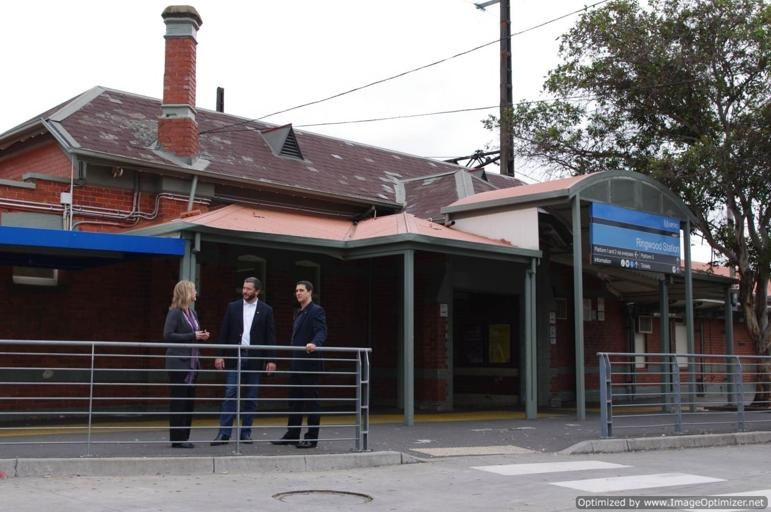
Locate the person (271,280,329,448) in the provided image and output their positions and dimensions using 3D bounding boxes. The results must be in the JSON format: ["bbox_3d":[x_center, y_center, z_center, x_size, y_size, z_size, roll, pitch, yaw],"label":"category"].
[{"bbox_3d":[-1.573,2.030,19.026,0.800,3.221,0.968,7,-15,-27],"label":"person"}]

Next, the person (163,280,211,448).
[{"bbox_3d":[-3.747,1.940,18.446,0.697,3.168,0.878,3,-13,-11],"label":"person"}]

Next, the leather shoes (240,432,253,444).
[{"bbox_3d":[-2.599,3.385,18.615,0.200,0.189,0.510,4,-15,-16],"label":"leather shoes"}]

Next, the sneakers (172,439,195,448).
[{"bbox_3d":[-3.734,3.429,18.305,0.453,0.155,0.155,0,-3,2],"label":"sneakers"}]

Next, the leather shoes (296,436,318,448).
[{"bbox_3d":[-1.466,3.512,18.799,0.484,0.171,0.164,6,-13,-14],"label":"leather shoes"}]
